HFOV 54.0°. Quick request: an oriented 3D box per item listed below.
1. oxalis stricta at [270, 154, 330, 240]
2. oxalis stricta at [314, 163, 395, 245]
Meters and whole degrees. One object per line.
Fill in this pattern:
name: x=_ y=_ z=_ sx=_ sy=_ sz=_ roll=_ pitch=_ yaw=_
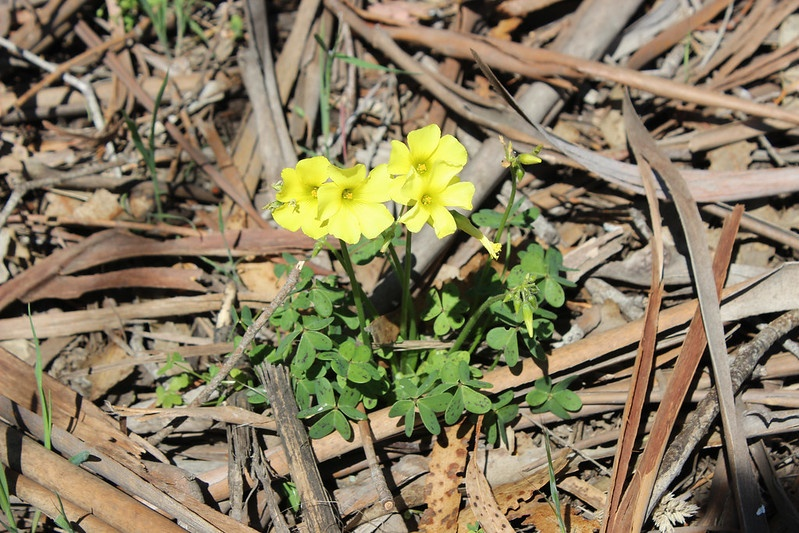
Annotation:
oxalis stricta: x=-0.560 y=-0.492 z=4.675 sx=0.332 sy=0.149 sz=0.378 roll=-11 pitch=-18 yaw=1
oxalis stricta: x=-0.272 y=-0.378 z=4.625 sx=0.434 sy=0.464 sz=0.210 roll=28 pitch=9 yaw=-21
